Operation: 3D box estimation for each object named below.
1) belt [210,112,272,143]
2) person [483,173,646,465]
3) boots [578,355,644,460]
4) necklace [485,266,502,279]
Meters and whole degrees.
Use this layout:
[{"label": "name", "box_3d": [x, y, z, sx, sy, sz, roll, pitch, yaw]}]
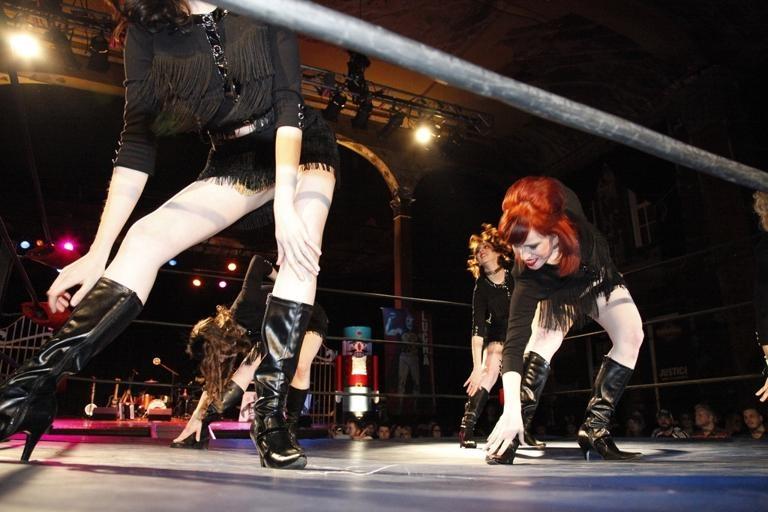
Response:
[{"label": "belt", "box_3d": [-0.559, -0.504, 2.102, 0.157, 0.039, 0.136, -9, 20, 11]}, {"label": "person", "box_3d": [0.863, 0.280, 2.668, 0.814, 1.498, 0.539, 21, -23, -37]}, {"label": "boots", "box_3d": [1.102, 0.748, 2.601, 0.279, 0.509, 0.168, 4, -19, 7]}, {"label": "necklace", "box_3d": [0.858, 0.119, 4.152, 0.087, 0.082, 0.107, 12, -33, 23]}]
